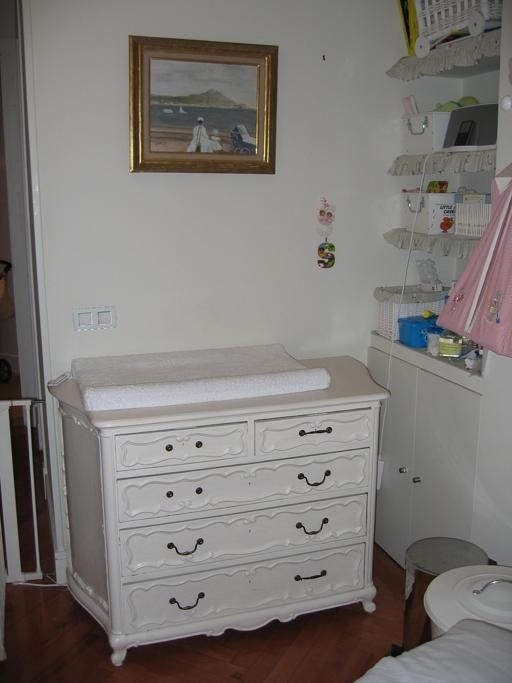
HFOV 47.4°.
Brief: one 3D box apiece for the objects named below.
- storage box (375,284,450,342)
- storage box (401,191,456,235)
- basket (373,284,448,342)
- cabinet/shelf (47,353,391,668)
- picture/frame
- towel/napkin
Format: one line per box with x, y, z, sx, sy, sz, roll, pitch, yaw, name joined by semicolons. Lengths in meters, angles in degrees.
0.698;-0.159;2.609;0.286;0.211;0.241;-10;23;-23;storage box
0.683;-0.513;2.372;0.165;0.175;0.258;-1;15;-9;storage box
0.710;-0.153;2.580;0.295;0.214;0.231;-10;22;-23;basket
-0.126;0.592;1.997;0.872;0.690;0.387;-6;26;-12;cabinet/shelf
-0.216;-0.895;2.154;0.529;0.435;0.037;-4;16;-20;picture/frame
-0.209;0.116;2.050;0.611;0.090;0.358;-3;21;-16;towel/napkin
